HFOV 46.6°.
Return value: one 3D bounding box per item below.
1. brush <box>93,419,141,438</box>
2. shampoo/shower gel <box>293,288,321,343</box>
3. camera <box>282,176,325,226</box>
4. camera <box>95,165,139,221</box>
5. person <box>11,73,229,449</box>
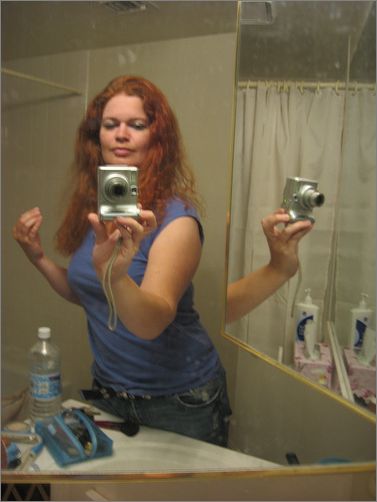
[{"bbox_3d":[-0.140,0.346,0.870,0.088,0.034,0.018,8,7,7],"label":"brush"},{"bbox_3d":[0.255,0.144,0.946,0.052,0.132,0.026,3,19,6],"label":"shampoo/shower gel"},{"bbox_3d":[0.234,-0.107,0.909,0.065,0.092,0.089,0,15,-25],"label":"camera"},{"bbox_3d":[-0.118,-0.099,0.735,0.088,0.091,0.093,7,15,21],"label":"camera"},{"bbox_3d":[-0.142,0.045,0.812,0.446,0.728,0.201,4,9,13],"label":"person"}]
